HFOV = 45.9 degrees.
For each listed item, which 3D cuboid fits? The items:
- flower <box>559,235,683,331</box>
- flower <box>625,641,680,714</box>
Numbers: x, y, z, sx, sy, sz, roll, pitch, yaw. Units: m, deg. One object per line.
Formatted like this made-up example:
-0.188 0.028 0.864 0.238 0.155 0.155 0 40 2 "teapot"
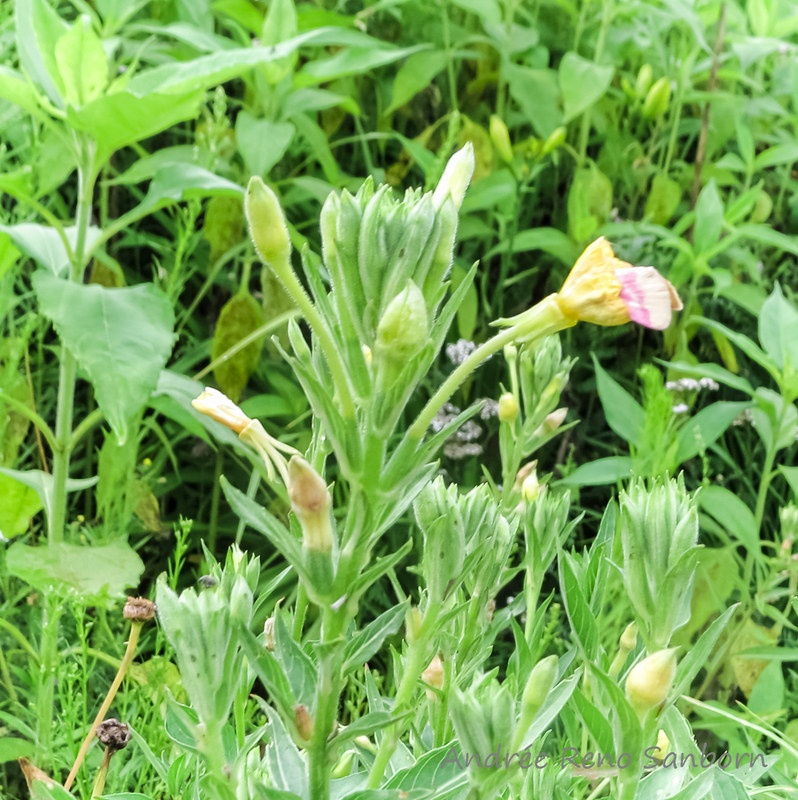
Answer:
0.155 -0.074 0.682 0.080 0.045 0.107 -1 28 11 "flower"
0.171 0.188 0.631 0.031 0.063 0.022 5 44 -6 "flower"
